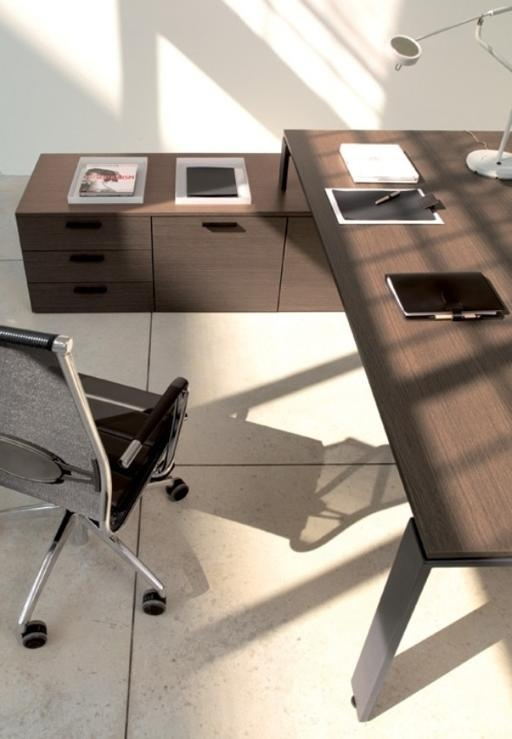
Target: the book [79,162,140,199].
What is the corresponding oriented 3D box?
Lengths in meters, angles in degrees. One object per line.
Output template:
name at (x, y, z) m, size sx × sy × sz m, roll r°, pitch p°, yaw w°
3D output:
book at (-0.682, -0.883, 2.650) m, size 0.247 × 0.053 × 0.339 m, roll 3°, pitch 44°, yaw -10°
